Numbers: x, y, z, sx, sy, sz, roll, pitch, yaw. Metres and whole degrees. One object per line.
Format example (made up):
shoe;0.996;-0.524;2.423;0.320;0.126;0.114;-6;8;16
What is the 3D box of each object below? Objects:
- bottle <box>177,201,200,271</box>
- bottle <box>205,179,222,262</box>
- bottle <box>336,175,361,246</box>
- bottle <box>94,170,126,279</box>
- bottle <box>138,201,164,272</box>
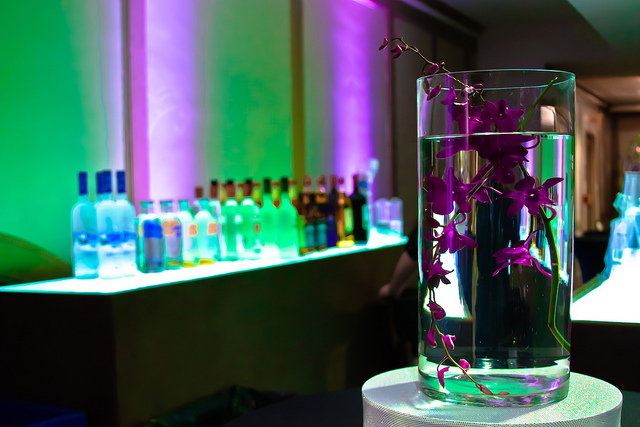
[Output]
bottle;-0.559;0.090;2.508;0.101;0.258;0.097;-2;1;0
bottle;-0.482;0.034;2.652;0.073;0.323;0.251;-2;1;-10
bottle;0.159;-0.012;3.362;0.136;0.291;0.326;-2;0;3
bottle;-0.801;0.046;2.230;0.103;0.396;0.058;-2;1;-21
bottle;-0.683;0.098;2.361;0.101;0.260;0.146;-2;1;-20
